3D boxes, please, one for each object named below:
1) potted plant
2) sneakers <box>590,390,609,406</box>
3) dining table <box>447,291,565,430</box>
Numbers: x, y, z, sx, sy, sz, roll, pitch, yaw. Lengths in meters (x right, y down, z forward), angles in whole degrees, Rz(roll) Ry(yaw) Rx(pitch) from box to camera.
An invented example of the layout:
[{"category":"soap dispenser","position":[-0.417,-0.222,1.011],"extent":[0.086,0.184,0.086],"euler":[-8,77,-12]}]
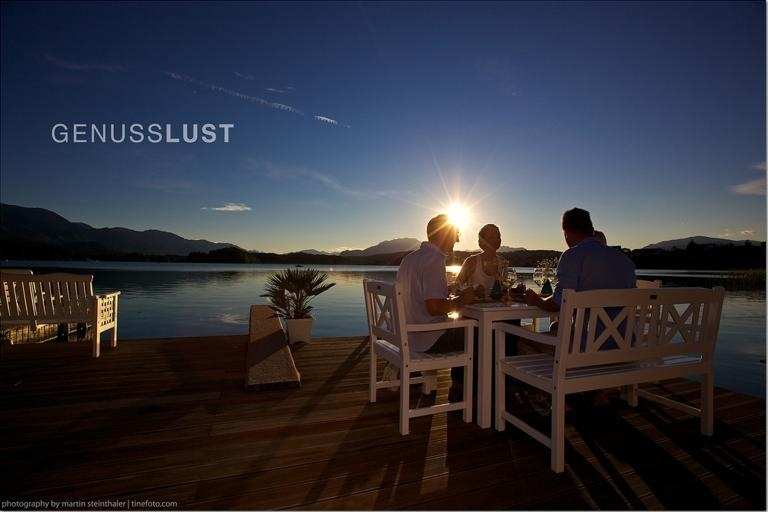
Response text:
[{"category":"potted plant","position":[-2.056,1.068,9.958],"extent":[1.808,1.816,1.730],"euler":[-1,-3,-25]},{"category":"sneakers","position":[3.415,2.222,6.593],"extent":[0.248,0.240,0.250],"euler":[-4,2,-6]},{"category":"dining table","position":[1.880,1.547,6.747],"extent":[1.662,1.595,1.645],"euler":[0,1,-17]}]
